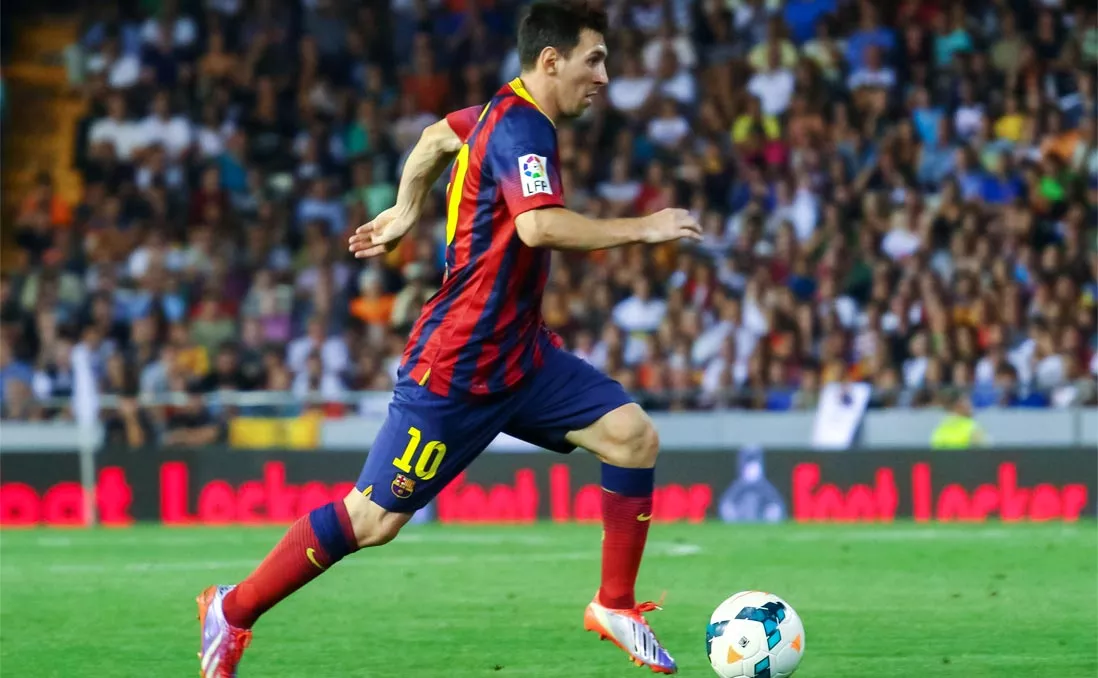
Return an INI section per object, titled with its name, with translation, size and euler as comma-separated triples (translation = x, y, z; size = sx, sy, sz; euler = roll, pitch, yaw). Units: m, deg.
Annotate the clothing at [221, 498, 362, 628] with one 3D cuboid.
[clothing]
translation = -1.934, 1.715, 12.163
size = 1.384, 0.596, 0.545
euler = -30, 6, -4
